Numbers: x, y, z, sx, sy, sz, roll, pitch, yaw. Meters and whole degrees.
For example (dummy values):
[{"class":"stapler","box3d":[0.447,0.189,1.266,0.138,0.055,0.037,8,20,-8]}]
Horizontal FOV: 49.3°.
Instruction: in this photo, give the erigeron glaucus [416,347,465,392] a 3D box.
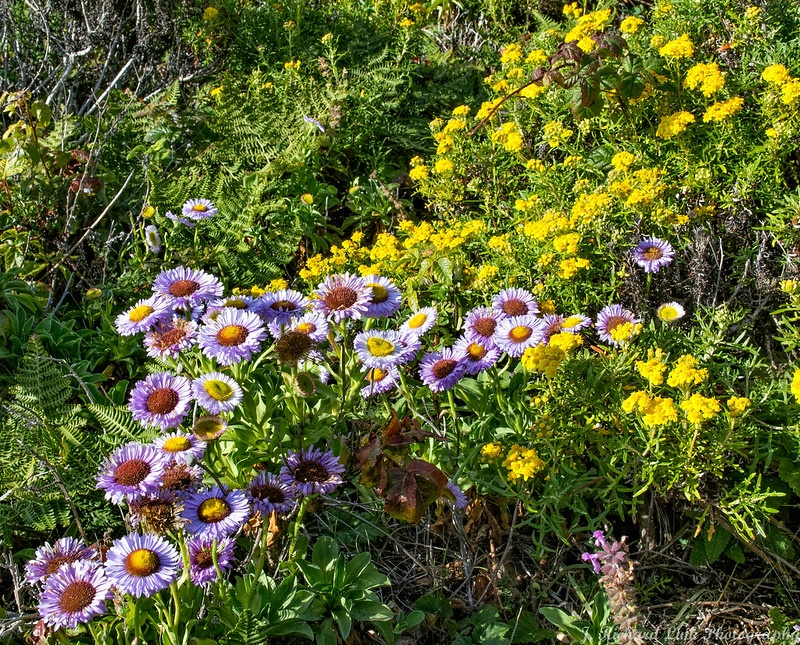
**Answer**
[{"class":"erigeron glaucus","box3d":[0.186,0.202,3.586,0.207,0.090,0.217,-15,13,21]}]

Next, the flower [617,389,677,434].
[{"class":"flower","box3d":[0.979,0.339,3.391,0.159,0.074,0.166,21,60,32]}]

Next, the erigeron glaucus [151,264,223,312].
[{"class":"erigeron glaucus","box3d":[-0.905,-0.176,3.580,0.215,0.091,0.221,-4,5,29]}]

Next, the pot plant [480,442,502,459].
[{"class":"pot plant","box3d":[0.373,0.527,3.552,0.085,0.071,0.065,-2,54,-8]}]

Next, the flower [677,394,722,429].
[{"class":"flower","box3d":[1.146,0.336,3.384,0.112,0.060,0.131,-28,54,3]}]

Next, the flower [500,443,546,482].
[{"class":"flower","box3d":[0.486,0.571,3.515,0.142,0.096,0.153,-28,52,-8]}]

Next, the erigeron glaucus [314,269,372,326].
[{"class":"erigeron glaucus","box3d":[-0.231,-0.081,3.448,0.222,0.211,0.211,6,53,-2]}]

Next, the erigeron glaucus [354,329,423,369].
[{"class":"erigeron glaucus","box3d":[-0.065,0.103,3.470,0.169,0.075,0.185,7,36,16]}]

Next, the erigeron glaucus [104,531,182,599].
[{"class":"erigeron glaucus","box3d":[-0.896,0.878,3.048,0.251,0.203,0.195,8,53,-1]}]

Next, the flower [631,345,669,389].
[{"class":"flower","box3d":[0.999,0.179,3.492,0.126,0.171,0.153,3,3,1]}]

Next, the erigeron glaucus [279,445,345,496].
[{"class":"erigeron glaucus","box3d":[-0.338,0.580,3.322,0.243,0.092,0.175,-5,56,-10]}]

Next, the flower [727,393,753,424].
[{"class":"flower","box3d":[1.312,0.327,3.385,0.075,0.103,0.086,7,29,14]}]

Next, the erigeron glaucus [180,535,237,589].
[{"class":"erigeron glaucus","box3d":[-0.677,0.825,3.118,0.156,0.281,0.161,-5,53,-10]}]

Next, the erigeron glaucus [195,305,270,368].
[{"class":"erigeron glaucus","box3d":[-0.641,0.052,3.296,0.254,0.109,0.287,0,36,9]}]

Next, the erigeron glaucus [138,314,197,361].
[{"class":"erigeron glaucus","box3d":[-0.890,0.075,3.416,0.220,0.096,0.210,-23,34,-27]}]

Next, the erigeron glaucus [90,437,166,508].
[{"class":"erigeron glaucus","box3d":[-0.940,0.496,3.085,0.243,0.119,0.289,-1,12,-32]}]

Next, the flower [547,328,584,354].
[{"class":"flower","box3d":[0.671,0.072,3.545,0.087,0.045,0.098,-3,26,-3]}]

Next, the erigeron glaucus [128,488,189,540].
[{"class":"erigeron glaucus","box3d":[-0.856,0.676,3.062,0.169,0.065,0.136,-16,59,-17]}]

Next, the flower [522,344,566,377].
[{"class":"flower","box3d":[0.573,0.144,3.517,0.160,0.070,0.138,20,55,7]}]

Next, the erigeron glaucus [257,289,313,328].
[{"class":"erigeron glaucus","box3d":[-0.472,-0.067,3.453,0.140,0.064,0.157,14,40,9]}]
